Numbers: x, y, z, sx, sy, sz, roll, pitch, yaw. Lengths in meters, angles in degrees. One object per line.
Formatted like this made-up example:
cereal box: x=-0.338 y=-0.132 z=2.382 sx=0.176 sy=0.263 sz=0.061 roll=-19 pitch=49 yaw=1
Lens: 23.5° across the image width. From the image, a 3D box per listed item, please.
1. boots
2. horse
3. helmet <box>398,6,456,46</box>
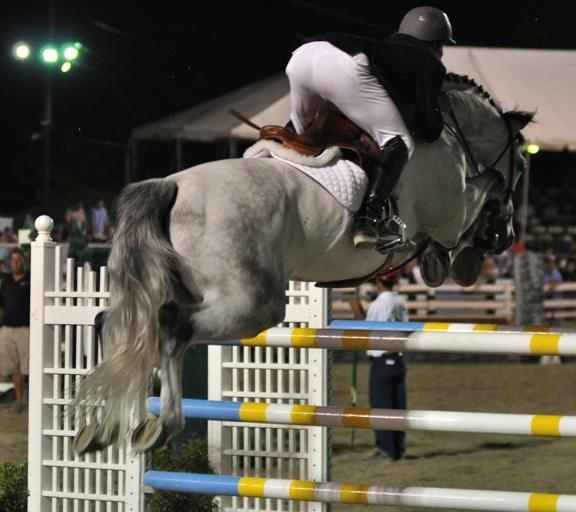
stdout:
boots: x=0.824 y=-0.465 z=11.990 sx=0.501 sy=0.929 sz=0.355 roll=5 pitch=1 yaw=-22
horse: x=0.386 y=-0.087 z=12.658 sx=5.465 sy=2.272 sz=1.149 roll=-19 pitch=17 yaw=-35
helmet: x=1.264 y=-2.060 z=12.439 sx=0.429 sy=0.332 sz=0.315 roll=16 pitch=6 yaw=-26
